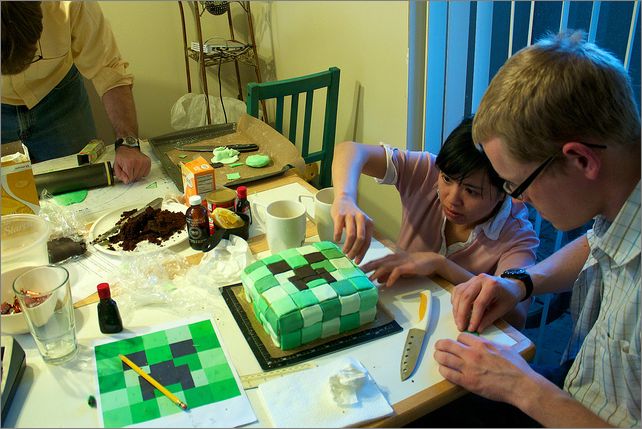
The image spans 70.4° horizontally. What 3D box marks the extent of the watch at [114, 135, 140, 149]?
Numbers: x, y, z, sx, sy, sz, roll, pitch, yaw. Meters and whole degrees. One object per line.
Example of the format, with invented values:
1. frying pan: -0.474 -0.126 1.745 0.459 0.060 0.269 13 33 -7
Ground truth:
1. watch: -0.948 -0.354 2.213 0.102 0.102 0.068 4 71 -18

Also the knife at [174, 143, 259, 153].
1. knife: -0.534 -0.339 2.313 0.345 0.032 0.050 0 29 -1

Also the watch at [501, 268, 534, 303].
1. watch: 0.666 0.240 1.537 0.048 0.084 0.084 -20 54 -22

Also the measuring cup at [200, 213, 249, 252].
1. measuring cup: -0.343 0.069 1.733 0.147 0.129 0.202 2 31 0

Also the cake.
1. cake: -0.072 0.186 1.547 0.448 0.256 0.390 -9 28 -23

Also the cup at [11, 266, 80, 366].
1. cup: -0.805 0.289 1.356 0.139 0.234 0.192 -22 34 -31

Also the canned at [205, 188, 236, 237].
1. canned: -0.385 -0.011 1.807 0.085 0.151 0.139 -6 26 -19
